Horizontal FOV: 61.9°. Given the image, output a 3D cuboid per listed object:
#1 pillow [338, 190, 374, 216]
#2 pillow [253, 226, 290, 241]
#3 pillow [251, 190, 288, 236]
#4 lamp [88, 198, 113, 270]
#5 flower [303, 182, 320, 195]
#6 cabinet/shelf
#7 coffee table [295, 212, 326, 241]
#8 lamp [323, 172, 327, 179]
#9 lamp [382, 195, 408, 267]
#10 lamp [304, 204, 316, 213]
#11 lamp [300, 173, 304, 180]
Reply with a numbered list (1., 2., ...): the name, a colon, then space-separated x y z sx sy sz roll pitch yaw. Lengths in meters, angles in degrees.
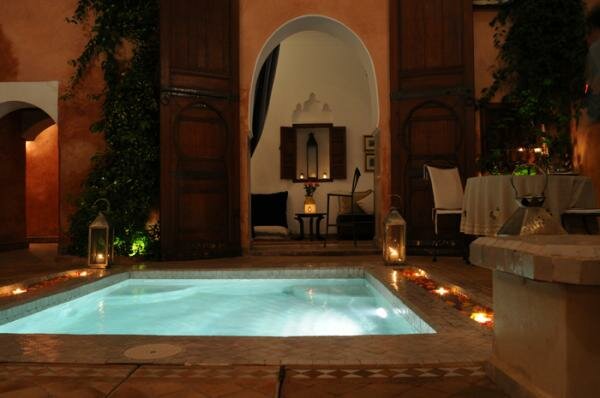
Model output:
1. pillow: 1.265 0.094 11.311 0.445 0.410 0.233 -11 -27 11
2. pillow: -0.613 0.695 10.430 0.772 0.301 0.487 -3 -1 -12
3. pillow: -0.764 0.302 11.762 0.905 0.887 0.266 2 -13 -10
4. lamp: -3.017 0.609 7.512 0.359 0.945 0.224 -3 0 -22
5. flower: 0.284 -0.256 11.636 0.115 0.337 0.307 2 -4 -21
6. cabinet/shelf: 0.290 -1.093 12.614 1.423 1.270 0.473 0 1 1
7. coffee table: 0.168 0.586 11.060 0.596 0.553 0.609 0 -3 0
8. lamp: 0.628 -0.576 12.580 0.136 0.258 0.139 0 0 3
9. lamp: 1.406 0.550 7.502 0.311 0.985 0.216 -3 0 4
10. lamp: 0.204 0.207 11.159 0.202 0.149 0.203 0 -4 -1
11. lamp: 0.028 -0.576 12.603 0.119 0.211 0.111 0 -7 -2
